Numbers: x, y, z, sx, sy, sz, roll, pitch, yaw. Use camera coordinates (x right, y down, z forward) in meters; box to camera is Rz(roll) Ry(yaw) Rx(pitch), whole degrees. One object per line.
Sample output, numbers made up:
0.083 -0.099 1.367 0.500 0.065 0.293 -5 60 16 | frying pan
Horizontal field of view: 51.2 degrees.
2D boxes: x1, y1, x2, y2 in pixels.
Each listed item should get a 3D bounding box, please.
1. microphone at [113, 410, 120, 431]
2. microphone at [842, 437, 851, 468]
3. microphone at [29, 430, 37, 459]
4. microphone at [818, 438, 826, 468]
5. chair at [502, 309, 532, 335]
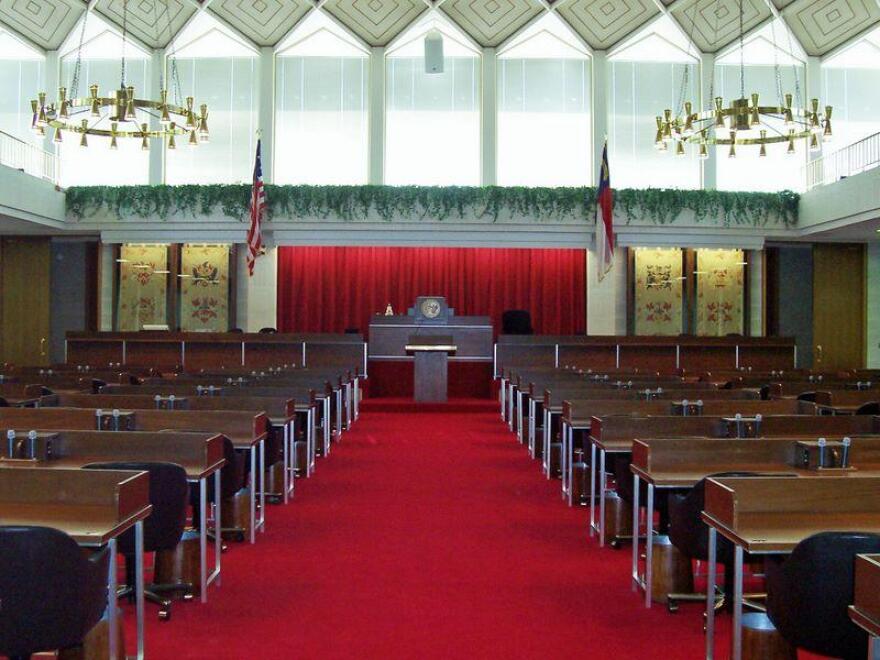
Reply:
-2.849 0.801 8.083 0.058 0.147 0.102 -2 9 -18 | microphone
3.245 0.970 7.327 0.055 0.241 0.364 5 10 26 | microphone
-3.213 0.923 7.244 0.076 0.206 0.144 -3 10 -23 | microphone
3.021 0.977 7.242 0.068 0.214 0.189 4 10 23 | microphone
1.563 -0.144 18.644 0.434 0.679 0.533 1 -4 -4 | chair
